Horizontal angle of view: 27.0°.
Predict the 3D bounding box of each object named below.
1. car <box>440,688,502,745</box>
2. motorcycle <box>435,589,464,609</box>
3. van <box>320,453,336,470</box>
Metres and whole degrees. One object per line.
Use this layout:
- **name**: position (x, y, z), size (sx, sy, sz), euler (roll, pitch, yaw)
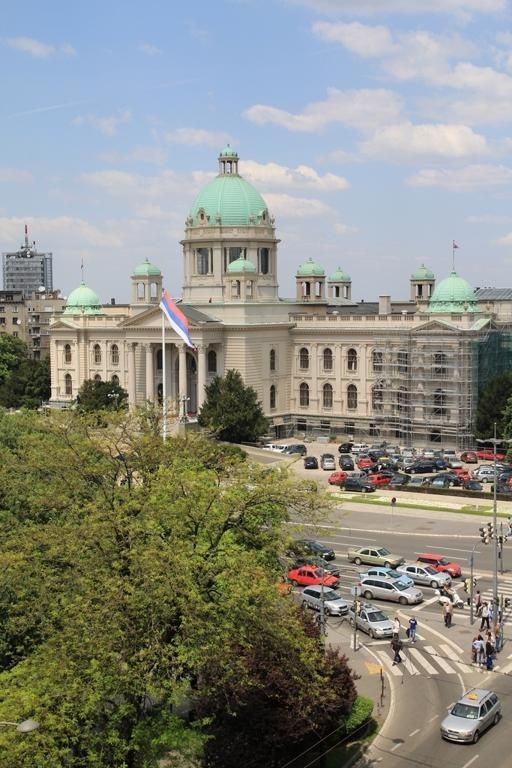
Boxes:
- **car**: position (8.334, 12.932, 41.238), size (1.279, 1.315, 2.703), euler (0, 1, 41)
- **motorcycle**: position (10.518, 11.682, 57.863), size (0.801, 0.965, 1.705), euler (-16, 10, -42)
- **van**: position (6.771, 7.350, 98.931), size (0.956, 0.795, 2.437), euler (1, 7, 3)
